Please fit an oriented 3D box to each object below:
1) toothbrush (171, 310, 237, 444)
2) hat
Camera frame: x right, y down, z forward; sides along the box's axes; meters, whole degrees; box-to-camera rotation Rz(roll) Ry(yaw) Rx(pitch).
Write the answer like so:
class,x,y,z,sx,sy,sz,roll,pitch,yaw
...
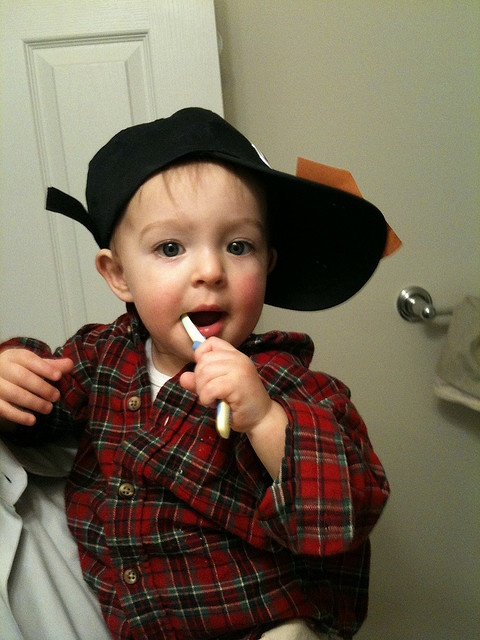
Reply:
class,x,y,z,sx,sy,sz,roll,pitch,yaw
toothbrush,-0.052,0.044,0.637,0.036,0.052,0.205,-25,58,15
hat,-0.059,-0.195,0.859,0.473,0.270,0.232,-3,54,-2
